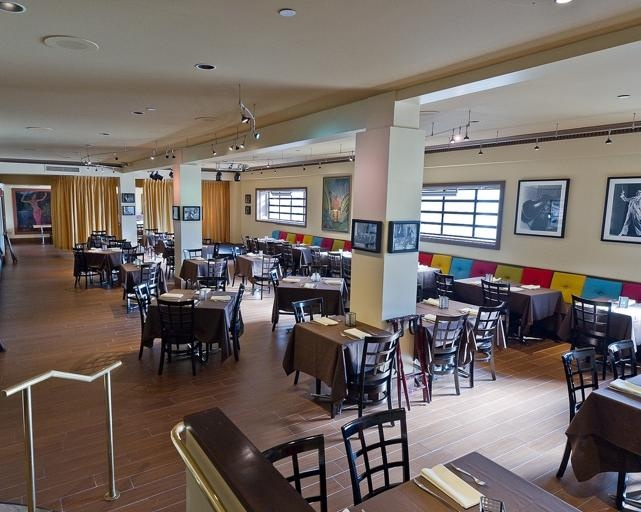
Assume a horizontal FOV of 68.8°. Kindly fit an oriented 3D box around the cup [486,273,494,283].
[{"bbox_3d":[2.917,0.376,8.042,0.111,0.118,0.210,1,-5,11],"label":"cup"}]

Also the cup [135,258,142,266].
[{"bbox_3d":[-3.908,0.133,9.976,0.097,0.138,0.134,-6,10,-36],"label":"cup"}]

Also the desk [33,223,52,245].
[{"bbox_3d":[-10.737,-0.859,18.264,0.795,0.806,0.783,-2,4,-41],"label":"desk"}]

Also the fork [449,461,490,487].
[{"bbox_3d":[0.952,1.440,3.108,0.066,0.048,0.421,-11,7,-23],"label":"fork"}]

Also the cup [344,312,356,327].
[{"bbox_3d":[0.340,0.729,5.477,0.135,0.199,0.137,-1,9,0],"label":"cup"}]

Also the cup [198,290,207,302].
[{"bbox_3d":[-1.624,0.547,6.426,0.116,0.124,0.065,-1,-15,7],"label":"cup"}]

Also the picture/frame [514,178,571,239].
[{"bbox_3d":[3.967,-0.849,8.271,0.043,1.192,0.932,-1,8,-33],"label":"picture/frame"}]

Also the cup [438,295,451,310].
[{"bbox_3d":[1.624,0.616,6.222,0.149,0.218,0.152,-1,11,0],"label":"cup"}]
